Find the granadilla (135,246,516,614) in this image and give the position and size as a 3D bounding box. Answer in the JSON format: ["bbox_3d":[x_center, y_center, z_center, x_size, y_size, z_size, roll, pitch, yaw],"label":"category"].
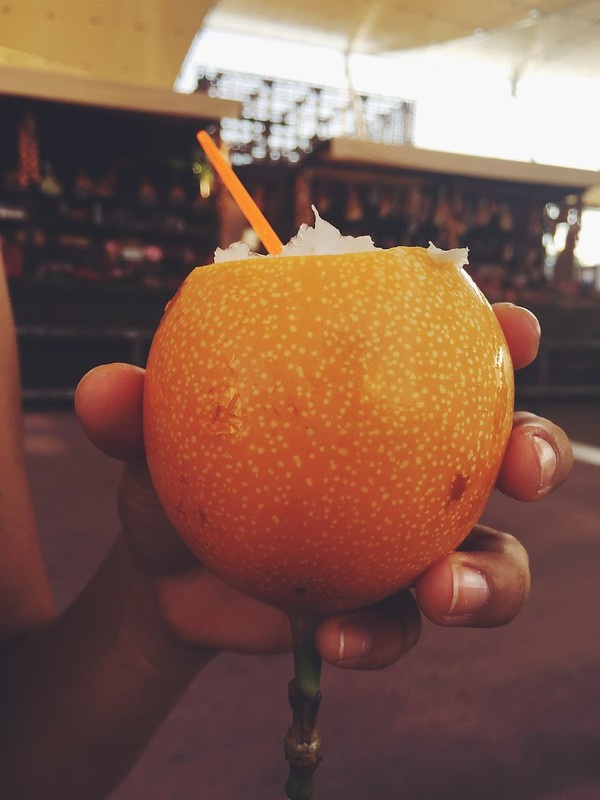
[{"bbox_3d":[0.015,0.026,0.486,0.219,0.188,0.206,-5,-1,9],"label":"granadilla"}]
